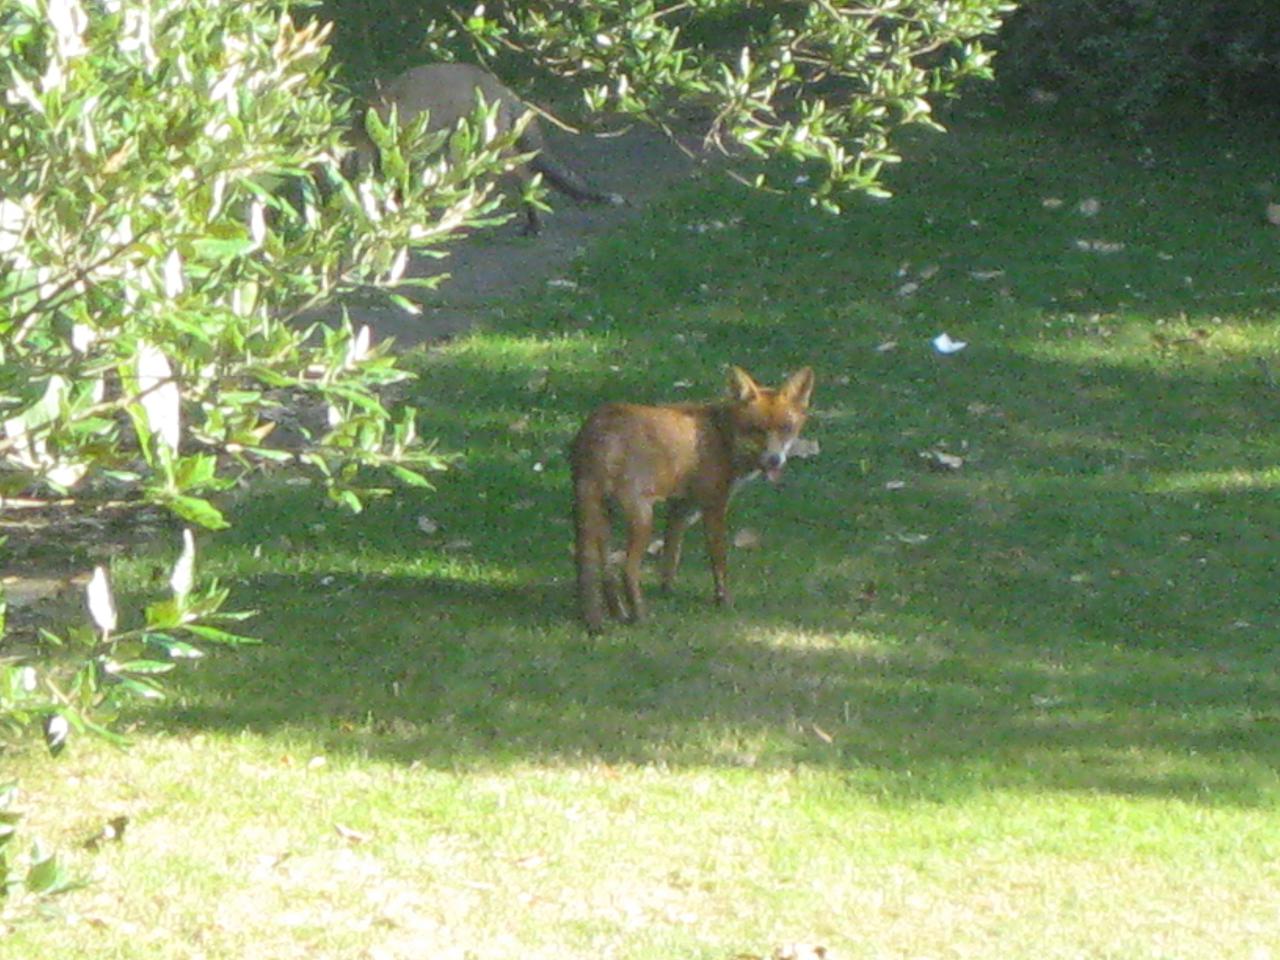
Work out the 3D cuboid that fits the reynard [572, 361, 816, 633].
[{"bbox_3d":[0.388,0.043,17.025,1.265,2.309,3.113,4,8,43],"label":"reynard"}]
